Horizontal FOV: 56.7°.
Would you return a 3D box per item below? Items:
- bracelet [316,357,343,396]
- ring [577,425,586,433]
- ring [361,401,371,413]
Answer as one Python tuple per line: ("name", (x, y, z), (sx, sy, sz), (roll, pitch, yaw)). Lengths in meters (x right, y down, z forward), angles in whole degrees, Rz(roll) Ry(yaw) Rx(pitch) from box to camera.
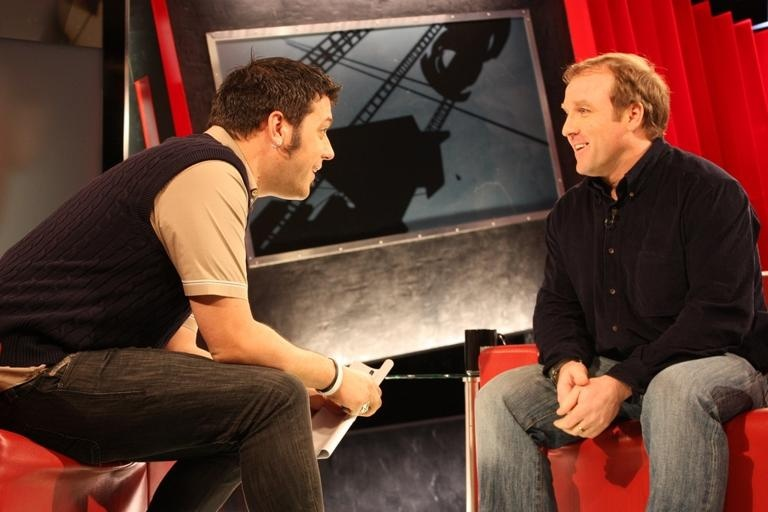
("bracelet", (-0.152, 0.325, 1.937), (0.034, 0.096, 0.085), (9, -29, -13))
("ring", (0.540, 0.466, 1.934), (0.021, 0.021, 0.005), (17, -4, 11))
("ring", (-0.054, 0.413, 1.967), (0.015, 0.039, 0.014), (26, 33, -19))
